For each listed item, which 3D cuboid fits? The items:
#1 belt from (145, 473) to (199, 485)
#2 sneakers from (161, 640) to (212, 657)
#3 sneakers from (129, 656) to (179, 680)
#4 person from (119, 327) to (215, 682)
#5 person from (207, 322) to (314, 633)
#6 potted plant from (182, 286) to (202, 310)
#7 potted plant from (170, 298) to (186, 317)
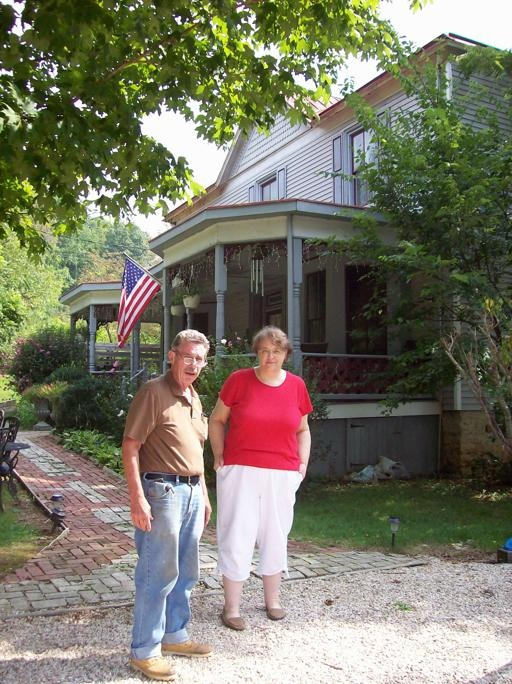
[{"bbox_3d":[-0.405,0.675,3.223,0.263,0.071,0.092,4,-5,-35],"label":"belt"},{"bbox_3d":[-0.353,1.594,3.451,0.283,0.096,0.088,0,-2,-4],"label":"sneakers"},{"bbox_3d":[-0.475,1.556,3.177,0.250,0.088,0.090,0,-4,26],"label":"sneakers"},{"bbox_3d":[-0.434,0.782,3.260,0.281,1.686,0.540,0,-4,20],"label":"person"},{"bbox_3d":[0.018,0.777,3.922,0.477,1.737,0.498,-1,-4,33],"label":"person"},{"bbox_3d":[-1.344,-0.908,13.982,0.416,0.352,0.441,-2,-4,37],"label":"potted plant"},{"bbox_3d":[-1.775,-0.778,15.064,0.351,0.235,0.308,-1,7,-6],"label":"potted plant"}]
